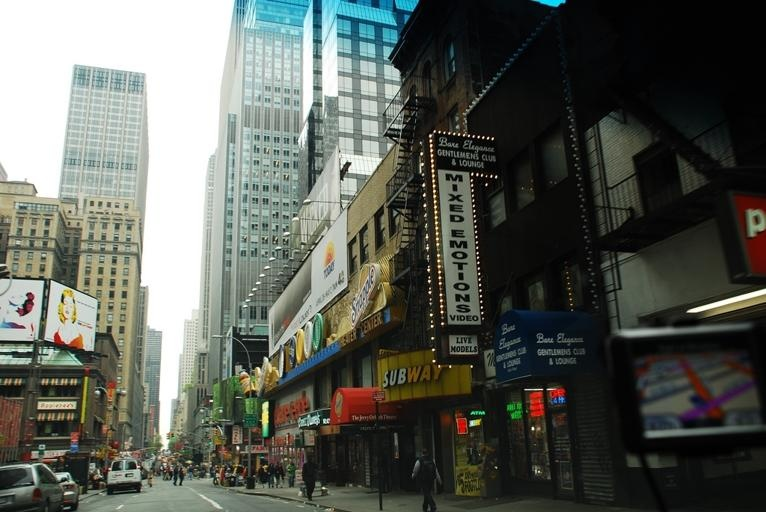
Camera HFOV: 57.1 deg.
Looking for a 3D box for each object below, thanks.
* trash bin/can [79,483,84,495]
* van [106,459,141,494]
[{"bbox_3d":[-20.516,15.987,47.882,0.245,0.580,1.272,6,-22,-24],"label":"trash bin/can"},{"bbox_3d":[-16.605,14.221,45.311,1.994,2.180,2.065,3,-21,-17],"label":"van"}]
